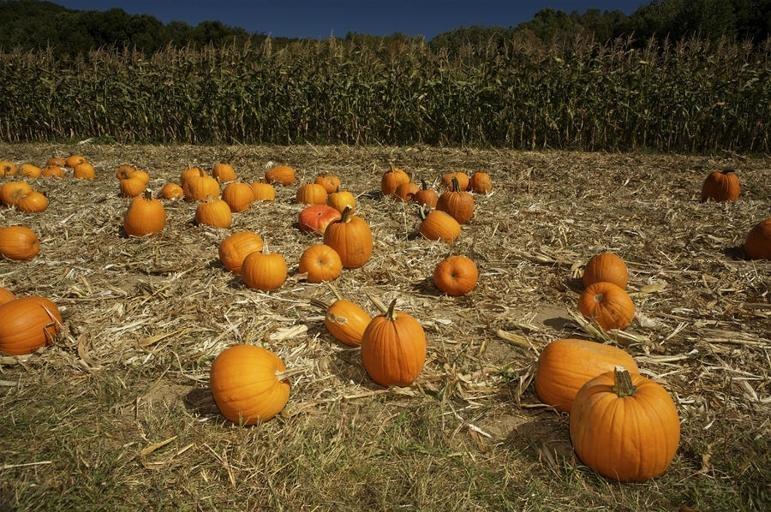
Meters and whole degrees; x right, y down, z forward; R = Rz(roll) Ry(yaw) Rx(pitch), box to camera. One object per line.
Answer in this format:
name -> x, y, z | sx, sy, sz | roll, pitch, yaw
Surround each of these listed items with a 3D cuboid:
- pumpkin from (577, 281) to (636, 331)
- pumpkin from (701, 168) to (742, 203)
pumpkin -> 2.435, 0.564, 6.281 | 0.512, 0.536, 0.538 | -23, 16, 44
pumpkin -> 5.647, -1.190, 9.309 | 0.594, 0.676, 0.566 | 0, 16, 37
